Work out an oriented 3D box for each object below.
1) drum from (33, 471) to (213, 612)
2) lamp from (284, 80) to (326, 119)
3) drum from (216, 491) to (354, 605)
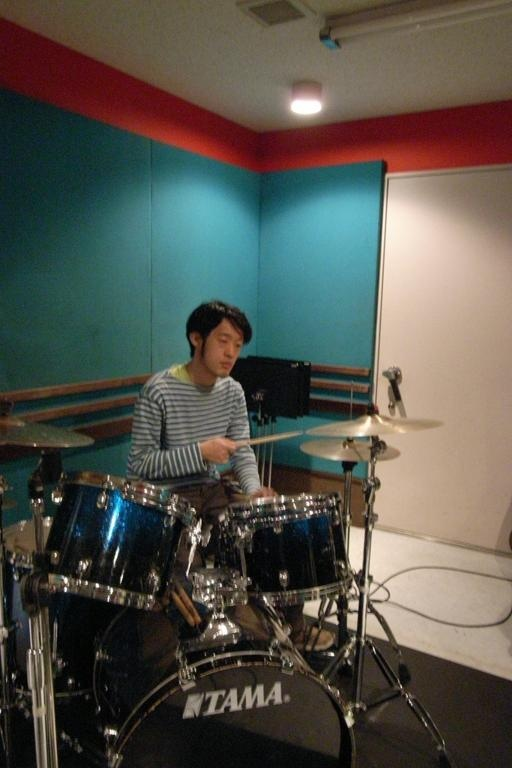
[{"bbox_3d":[-0.352,0.363,1.317,0.319,0.253,0.318,9,-23,4],"label":"drum"},{"bbox_3d":[0.219,-1.220,2.458,0.136,0.088,0.191,2,5,4],"label":"lamp"},{"bbox_3d":[0.086,0.431,1.506,0.320,0.230,0.319,-7,-10,-1],"label":"drum"}]
